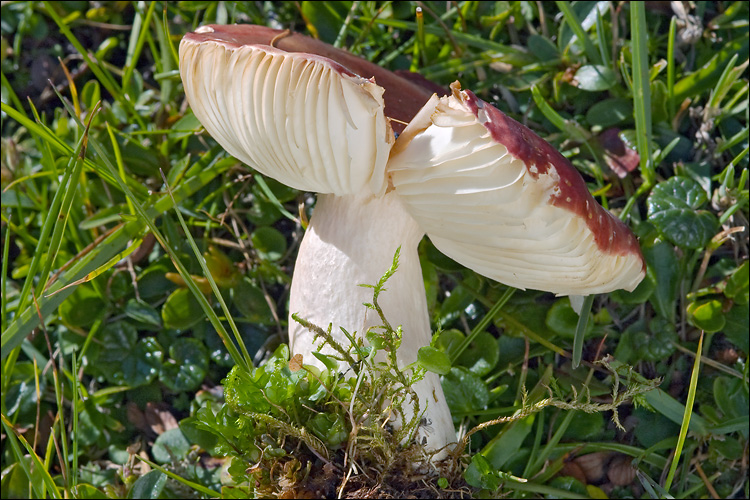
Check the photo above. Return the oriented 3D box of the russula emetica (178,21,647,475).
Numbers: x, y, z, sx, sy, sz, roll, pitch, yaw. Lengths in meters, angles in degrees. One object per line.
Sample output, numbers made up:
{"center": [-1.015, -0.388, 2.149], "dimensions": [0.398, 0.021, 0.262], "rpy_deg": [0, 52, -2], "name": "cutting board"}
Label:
{"center": [0.045, -0.173, 1.897], "dimensions": [0.791, 0.952, 0.954], "rpy_deg": [-42, 43, -13], "name": "russula emetica"}
